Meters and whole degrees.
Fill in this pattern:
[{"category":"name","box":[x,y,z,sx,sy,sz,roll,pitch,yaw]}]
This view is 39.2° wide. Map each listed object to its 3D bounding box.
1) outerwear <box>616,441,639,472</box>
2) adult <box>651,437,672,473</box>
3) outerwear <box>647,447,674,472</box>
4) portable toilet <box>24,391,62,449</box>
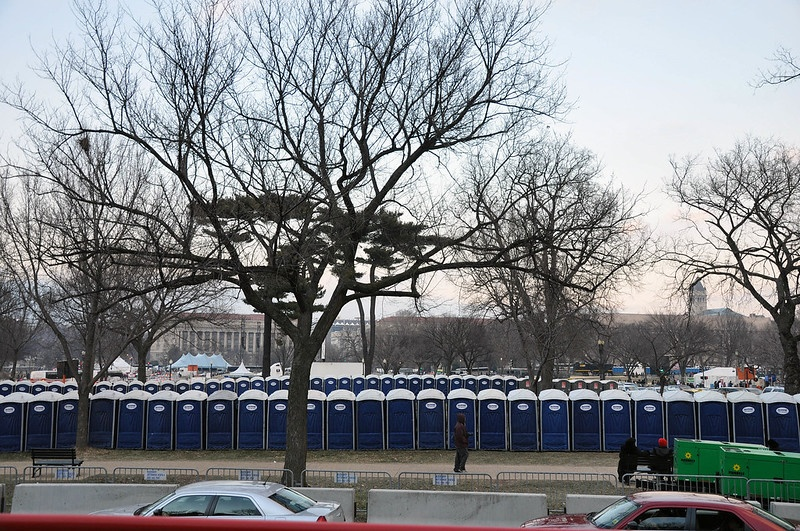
[{"category":"outerwear","box":[8.991,7.496,44.172,0.843,1.345,0.656,-3,-9,8]},{"category":"adult","box":[10.244,7.339,44.067,0.802,1.521,0.885,4,24,12]},{"category":"outerwear","box":[10.185,7.671,44.110,1.072,1.155,0.823,1,1,2]},{"category":"portable toilet","box":[-16.173,7.182,51.237,1.694,2.670,1.710,-5,-9,28]}]
